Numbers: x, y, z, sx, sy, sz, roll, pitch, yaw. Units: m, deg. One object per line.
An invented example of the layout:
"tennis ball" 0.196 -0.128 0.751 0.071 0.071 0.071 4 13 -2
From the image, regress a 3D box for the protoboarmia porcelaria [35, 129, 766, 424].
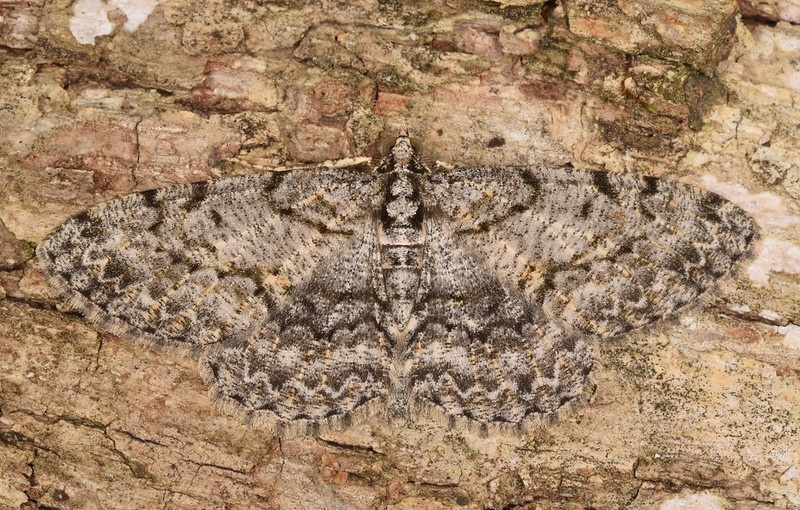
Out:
"protoboarmia porcelaria" -0.025 0.324 12.769 6.308 0.633 2.524 2 88 0
